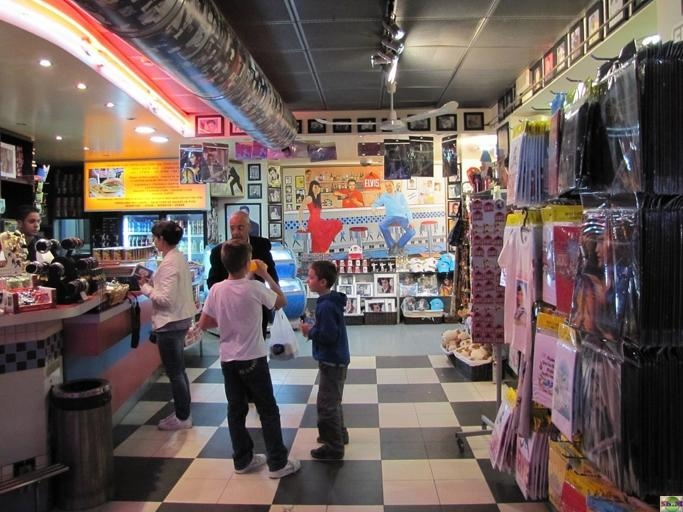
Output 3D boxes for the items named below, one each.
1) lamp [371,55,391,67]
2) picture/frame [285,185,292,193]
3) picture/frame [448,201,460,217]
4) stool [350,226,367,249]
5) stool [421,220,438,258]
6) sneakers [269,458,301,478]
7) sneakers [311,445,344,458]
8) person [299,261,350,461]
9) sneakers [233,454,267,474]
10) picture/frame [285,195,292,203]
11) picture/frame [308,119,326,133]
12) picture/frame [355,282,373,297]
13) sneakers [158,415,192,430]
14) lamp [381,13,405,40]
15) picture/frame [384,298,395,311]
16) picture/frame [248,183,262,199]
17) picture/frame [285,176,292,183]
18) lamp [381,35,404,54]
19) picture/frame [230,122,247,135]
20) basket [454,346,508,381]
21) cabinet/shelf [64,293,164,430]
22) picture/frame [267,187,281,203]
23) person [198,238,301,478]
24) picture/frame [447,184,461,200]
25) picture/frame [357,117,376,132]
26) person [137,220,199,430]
[{"bbox_3d":[0.397,-1.981,5.050,0.205,0.113,0.119,7,-26,-6],"label":"lamp"},{"bbox_3d":[-1.043,-1.322,9.905,0.148,0.164,0.023,-1,-4,1],"label":"picture/frame"},{"bbox_3d":[2.080,-0.846,9.109,0.156,0.282,0.240,-3,7,-17],"label":"picture/frame"},{"bbox_3d":[0.341,-0.353,9.696,0.385,0.433,0.403,1,10,3],"label":"stool"},{"bbox_3d":[1.690,-0.344,9.525,0.290,0.659,0.100,0,6,9],"label":"stool"},{"bbox_3d":[-0.383,1.499,3.484,0.221,0.086,0.086,-5,6,-43],"label":"sneakers"},{"bbox_3d":[-0.099,1.447,3.717,0.274,0.113,0.097,2,3,4],"label":"sneakers"},{"bbox_3d":[-0.120,0.773,3.705,0.361,1.449,0.334,-1,6,-2],"label":"person"},{"bbox_3d":[-0.651,1.486,3.588,0.082,0.088,0.225,1,1,33],"label":"sneakers"},{"bbox_3d":[-1.045,-1.117,9.904,0.142,0.133,0.034,-1,1,5],"label":"picture/frame"},{"bbox_3d":[-0.331,-1.817,6.985,0.215,0.178,0.030,0,-3,1],"label":"picture/frame"},{"bbox_3d":[0.367,0.577,8.488,0.381,0.341,0.206,0,-7,1],"label":"picture/frame"},{"bbox_3d":[-1.411,1.424,4.200,0.219,0.090,0.122,5,-10,-3],"label":"sneakers"},{"bbox_3d":[0.460,-2.026,4.417,0.140,0.088,0.199,-4,0,42],"label":"lamp"},{"bbox_3d":[0.810,0.812,8.131,0.187,0.182,0.045,0,-10,-1],"label":"picture/frame"},{"bbox_3d":[-1.694,-1.287,9.833,0.310,0.301,0.021,0,3,0],"label":"picture/frame"},{"bbox_3d":[-1.044,-1.514,9.909,0.149,0.165,0.023,0,-1,0],"label":"picture/frame"},{"bbox_3d":[0.467,-1.966,4.638,0.207,0.075,0.127,18,16,23],"label":"lamp"},{"bbox_3d":[-1.453,-1.772,6.988,0.226,0.175,0.089,4,8,37],"label":"picture/frame"},{"bbox_3d":[1.532,1.150,5.315,0.416,0.160,0.323,0,1,-13],"label":"basket"},{"bbox_3d":[-1.786,0.825,3.875,0.371,0.698,1.238,0,1,1],"label":"cabinet/shelf"},{"bbox_3d":[-1.341,-1.194,9.847,0.322,0.351,0.067,-1,0,-10],"label":"picture/frame"},{"bbox_3d":[-0.639,0.723,3.450,0.666,1.648,0.256,-1,6,-6],"label":"person"},{"bbox_3d":[2.085,-1.165,9.059,0.136,0.291,0.308,-4,7,-28],"label":"picture/frame"},{"bbox_3d":[0.355,-1.826,6.952,0.223,0.198,0.051,0,4,2],"label":"picture/frame"},{"bbox_3d":[-1.410,0.596,4.112,0.419,1.743,0.335,-3,7,-19],"label":"person"}]
